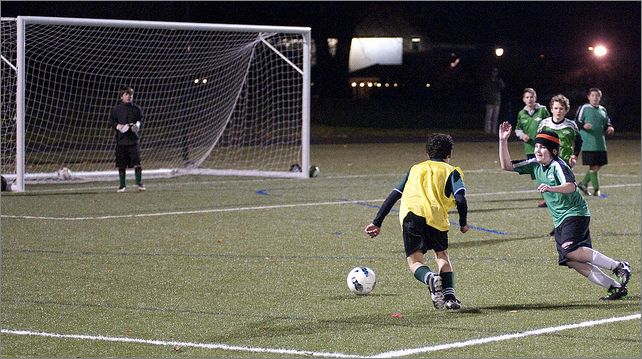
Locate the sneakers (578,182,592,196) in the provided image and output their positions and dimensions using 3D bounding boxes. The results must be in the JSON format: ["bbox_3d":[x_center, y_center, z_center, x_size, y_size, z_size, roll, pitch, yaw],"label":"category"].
[{"bbox_3d":[6.432,0.228,17.969,0.389,0.159,0.136,45,31,22],"label":"sneakers"}]

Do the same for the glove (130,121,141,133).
[{"bbox_3d":[-4.632,-1.351,18.575,0.255,0.189,0.304,-2,-22,-9],"label":"glove"}]

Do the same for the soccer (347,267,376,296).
[{"bbox_3d":[0.746,1.794,13.084,0.521,0.449,0.506,-5,-21,30],"label":"soccer"}]

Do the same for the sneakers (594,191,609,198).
[{"bbox_3d":[7.097,0.377,18.560,0.431,0.159,0.144,6,7,-17],"label":"sneakers"}]

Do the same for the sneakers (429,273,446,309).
[{"bbox_3d":[2.049,1.910,12.626,0.226,0.577,0.299,-12,7,-12],"label":"sneakers"}]

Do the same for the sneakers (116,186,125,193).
[{"bbox_3d":[-5.132,0.259,19.024,0.099,0.093,0.225,0,2,-43],"label":"sneakers"}]

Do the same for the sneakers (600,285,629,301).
[{"bbox_3d":[5.176,1.993,13.017,0.568,0.227,0.178,-6,4,4],"label":"sneakers"}]

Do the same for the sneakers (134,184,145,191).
[{"bbox_3d":[-4.691,0.206,19.225,0.286,0.170,0.142,1,7,13],"label":"sneakers"}]

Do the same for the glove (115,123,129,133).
[{"bbox_3d":[-4.946,-1.313,18.437,0.253,0.081,0.246,-36,47,-29],"label":"glove"}]

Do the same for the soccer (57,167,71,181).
[{"bbox_3d":[-6.995,-0.144,20.293,0.313,0.315,0.326,3,3,7],"label":"soccer"}]

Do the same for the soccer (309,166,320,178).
[{"bbox_3d":[-0.166,-0.210,21.150,0.265,0.316,0.322,-2,38,1],"label":"soccer"}]

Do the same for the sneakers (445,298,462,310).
[{"bbox_3d":[2.283,2.125,12.623,0.139,0.143,0.348,2,3,32],"label":"sneakers"}]

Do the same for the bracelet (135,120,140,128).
[{"bbox_3d":[-4.562,-1.397,18.483,0.123,0.150,0.073,-1,-2,-6],"label":"bracelet"}]
